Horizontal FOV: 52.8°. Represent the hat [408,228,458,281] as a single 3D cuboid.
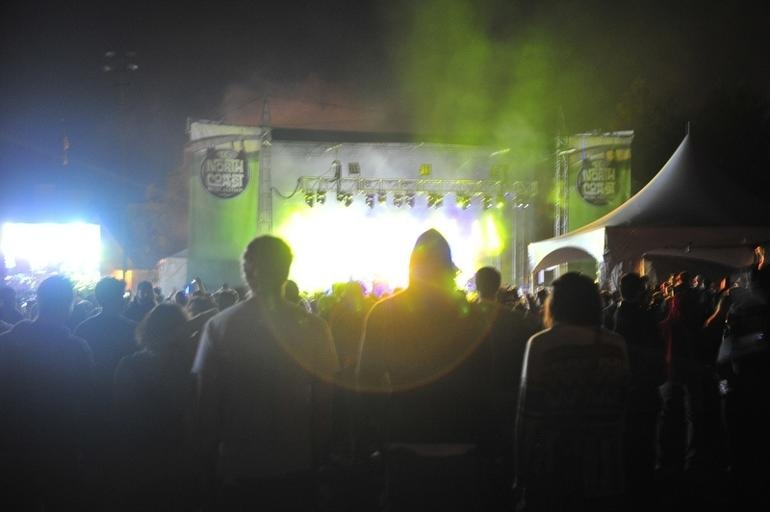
[{"bbox_3d":[0.540,0.031,8.211,0.503,0.660,0.596,-4,-2,34],"label":"hat"}]
